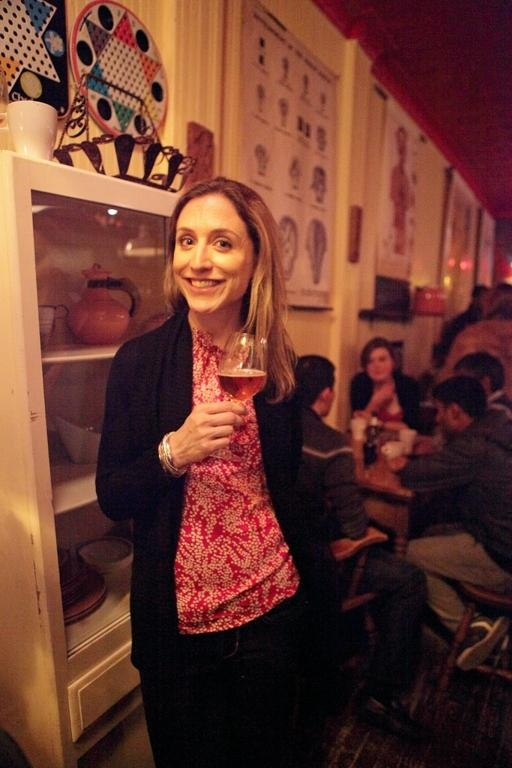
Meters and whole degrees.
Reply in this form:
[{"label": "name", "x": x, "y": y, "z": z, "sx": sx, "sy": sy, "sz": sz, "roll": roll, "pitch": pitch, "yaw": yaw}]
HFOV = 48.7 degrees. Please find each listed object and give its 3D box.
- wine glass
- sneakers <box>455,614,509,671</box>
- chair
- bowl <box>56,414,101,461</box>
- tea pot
[{"label": "wine glass", "x": -0.025, "y": -0.020, "z": 1.043, "sx": 0.078, "sy": 0.138, "sz": 0.117, "roll": 9, "pitch": 14, "yaw": 21}, {"label": "sneakers", "x": 0.663, "y": 0.759, "z": 1.704, "sx": 0.074, "sy": 0.231, "sz": 0.088, "roll": 36, "pitch": 13, "yaw": 33}, {"label": "chair", "x": 0.274, "y": 0.673, "z": 2.016, "sx": 0.282, "sy": 0.415, "sz": 0.317, "roll": -4, "pitch": 4, "yaw": -23}, {"label": "bowl", "x": -0.431, "y": 0.136, "z": 1.378, "sx": 0.028, "sy": 0.100, "sz": 0.102, "roll": -11, "pitch": -14, "yaw": 25}, {"label": "tea pot", "x": -0.383, "y": -0.196, "z": 1.432, "sx": 0.187, "sy": 0.201, "sz": 0.139, "roll": -3, "pitch": 6, "yaw": -18}]
